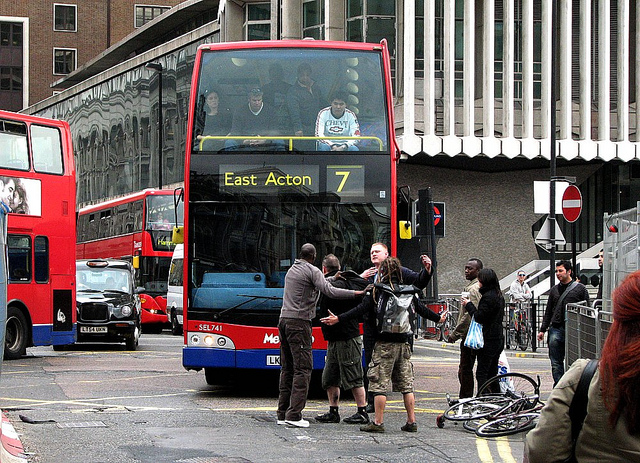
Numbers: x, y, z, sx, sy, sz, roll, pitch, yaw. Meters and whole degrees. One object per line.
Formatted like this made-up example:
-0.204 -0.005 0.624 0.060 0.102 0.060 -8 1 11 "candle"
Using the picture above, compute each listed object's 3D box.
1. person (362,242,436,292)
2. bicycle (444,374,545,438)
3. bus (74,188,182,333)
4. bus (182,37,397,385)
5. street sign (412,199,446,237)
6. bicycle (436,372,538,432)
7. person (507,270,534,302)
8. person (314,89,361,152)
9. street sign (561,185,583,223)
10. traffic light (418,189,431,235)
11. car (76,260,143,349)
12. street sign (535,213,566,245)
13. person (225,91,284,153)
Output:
1.415 0.646 20.340 1.370 0.499 1.485 -5 39 -3 "person"
2.666 2.825 17.413 1.354 0.594 0.651 0 -3 7 "bicycle"
-7.311 0.989 41.316 2.270 4.157 8.023 -5 -2 -38 "bus"
-0.691 -0.712 22.873 3.932 5.615 6.048 0 -6 0 "bus"
2.044 -0.246 21.570 0.318 0.778 0.897 -3 -5 29 "street sign"
2.588 2.690 17.787 1.807 0.876 1.442 0 -4 -8 "bicycle"
5.927 1.621 33.263 0.778 1.110 0.772 4 -7 -14 "person"
0.327 -1.912 20.279 0.885 1.130 0.954 9 17 22 "person"
5.369 -0.624 24.222 0.399 0.813 0.931 0 -3 12 "street sign"
1.826 -0.341 19.943 0.218 0.806 0.365 0 -3 5 "traffic light"
-5.728 1.931 30.454 1.722 2.370 1.688 1 -3 -11 "car"
5.321 -0.029 25.967 0.755 0.725 0.078 4 -29 6 "street sign"
-1.189 -1.971 20.289 1.014 1.207 0.871 0 20 -2 "person"
